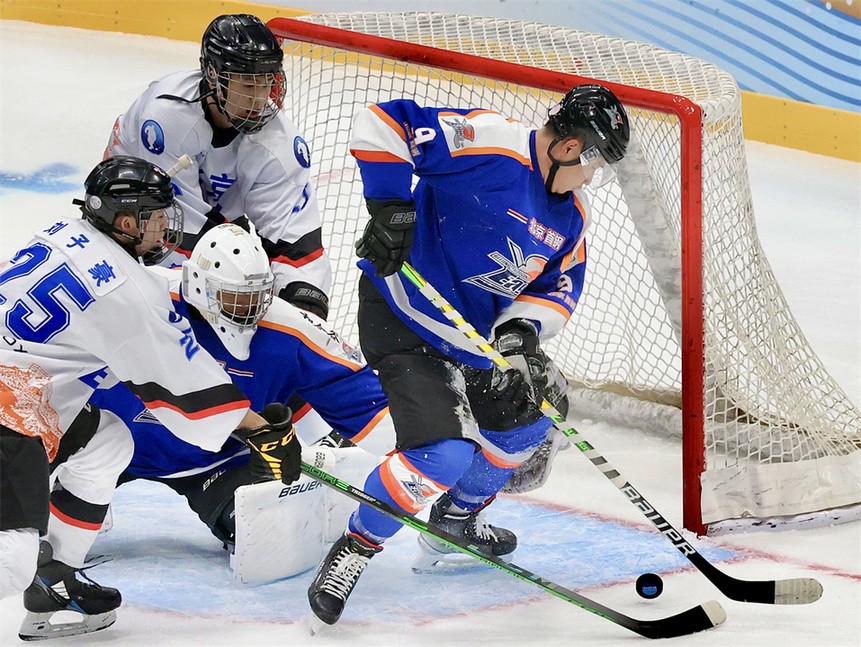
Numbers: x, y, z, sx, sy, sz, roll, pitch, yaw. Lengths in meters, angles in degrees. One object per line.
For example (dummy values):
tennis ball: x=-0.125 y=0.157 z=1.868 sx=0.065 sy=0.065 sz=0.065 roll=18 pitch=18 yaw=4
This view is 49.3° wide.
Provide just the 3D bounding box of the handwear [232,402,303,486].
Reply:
handwear: x=-0.501 y=0.381 z=2.882 sx=0.229 sy=0.191 sz=0.148 roll=-9 pitch=20 yaw=-14

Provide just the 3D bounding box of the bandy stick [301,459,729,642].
bandy stick: x=0.259 y=0.778 z=3.150 sx=1.240 sy=0.094 sz=0.145 roll=22 pitch=60 yaw=11

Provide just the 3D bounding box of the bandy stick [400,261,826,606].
bandy stick: x=0.658 y=0.437 z=3.376 sx=1.877 sy=0.205 sz=0.252 roll=34 pitch=-5 yaw=17

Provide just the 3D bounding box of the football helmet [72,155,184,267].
football helmet: x=-0.934 y=-0.345 z=2.920 sx=0.339 sy=0.281 sz=0.237 roll=5 pitch=17 yaw=-18

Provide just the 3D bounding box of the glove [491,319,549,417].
glove: x=0.326 y=0.144 z=3.002 sx=0.133 sy=0.273 sz=0.222 roll=-6 pitch=6 yaw=21

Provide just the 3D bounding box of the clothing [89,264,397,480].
clothing: x=-0.614 y=0.170 z=2.973 sx=0.886 sy=0.369 sz=0.263 roll=10 pitch=34 yaw=-27

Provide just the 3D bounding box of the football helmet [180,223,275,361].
football helmet: x=-0.618 y=-0.118 z=3.023 sx=0.308 sy=0.347 sz=0.362 roll=-11 pitch=27 yaw=-42

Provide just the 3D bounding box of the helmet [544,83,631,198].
helmet: x=0.459 y=-0.567 z=2.919 sx=0.206 sy=0.333 sz=0.218 roll=-6 pitch=31 yaw=-37

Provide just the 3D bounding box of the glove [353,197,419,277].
glove: x=-0.152 y=-0.276 z=2.978 sx=0.184 sy=0.215 sz=0.168 roll=9 pitch=17 yaw=9
